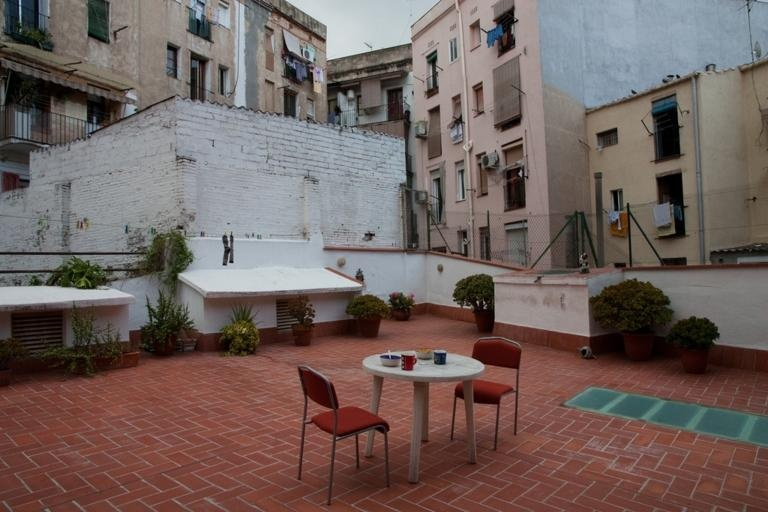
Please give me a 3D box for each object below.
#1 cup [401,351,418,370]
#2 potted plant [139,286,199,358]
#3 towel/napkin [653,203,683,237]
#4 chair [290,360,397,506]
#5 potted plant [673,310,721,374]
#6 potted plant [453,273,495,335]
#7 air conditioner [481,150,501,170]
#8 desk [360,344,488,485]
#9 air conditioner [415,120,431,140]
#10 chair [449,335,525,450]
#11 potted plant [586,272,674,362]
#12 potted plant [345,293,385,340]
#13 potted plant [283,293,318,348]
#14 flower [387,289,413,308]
[{"bbox_3d":[0.374,1.699,8.761,0.204,0.230,0.303,-1,14,-2],"label":"cup"},{"bbox_3d":[-5.801,1.650,14.017,1.481,2.064,1.630,0,-2,38],"label":"potted plant"},{"bbox_3d":[8.619,-1.102,16.561,0.859,0.905,0.753,1,14,3],"label":"towel/napkin"},{"bbox_3d":[-0.820,2.576,8.735,1.396,1.878,1.859,-7,16,-26],"label":"chair"},{"bbox_3d":[6.983,1.897,12.170,1.107,1.266,1.187,-2,2,22],"label":"potted plant"},{"bbox_3d":[2.730,1.379,16.100,1.188,1.754,0.610,8,16,28],"label":"potted plant"},{"bbox_3d":[4.168,-3.809,21.653,0.812,0.770,0.579,0,1,-13],"label":"air conditioner"},{"bbox_3d":[0.654,2.688,9.259,2.070,1.610,2.091,3,-2,-24],"label":"desk"},{"bbox_3d":[1.756,-5.962,25.592,0.765,0.859,0.747,-1,3,-29],"label":"air conditioner"},{"bbox_3d":[1.754,2.331,9.473,0.952,1.655,1.021,4,4,40],"label":"chair"},{"bbox_3d":[6.082,1.577,13.311,1.890,1.955,1.799,-2,-9,-17],"label":"potted plant"},{"bbox_3d":[-0.459,1.750,16.420,1.136,1.261,1.166,2,7,37],"label":"potted plant"},{"bbox_3d":[-2.318,1.833,15.177,0.731,1.408,1.278,-3,14,-11],"label":"potted plant"},{"bbox_3d":[0.574,1.488,18.844,0.847,0.491,0.965,-1,14,-3],"label":"flower"}]
